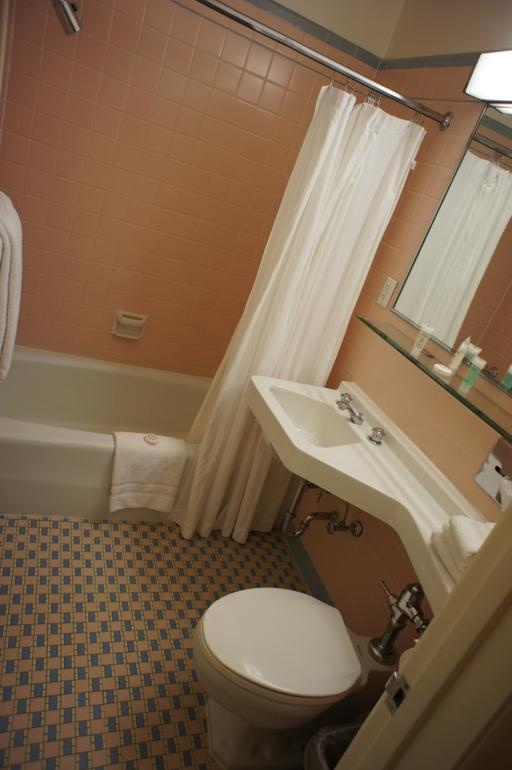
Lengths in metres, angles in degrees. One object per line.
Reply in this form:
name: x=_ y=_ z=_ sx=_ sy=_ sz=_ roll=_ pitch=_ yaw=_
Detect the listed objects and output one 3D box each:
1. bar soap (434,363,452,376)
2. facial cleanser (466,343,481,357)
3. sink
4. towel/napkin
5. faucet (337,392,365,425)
bar soap: x=0.555 y=-0.044 z=1.453 sx=0.045 sy=0.024 sz=0.049 roll=24 pitch=21 yaw=-6
facial cleanser: x=0.636 y=-0.099 z=1.421 sx=0.010 sy=0.029 sz=0.028 roll=-6 pitch=40 yaw=-20
sink: x=0.166 y=0.125 z=1.751 sx=0.321 sy=0.101 sz=0.444 roll=15 pitch=24 yaw=-27
towel/napkin: x=-0.454 y=0.363 z=2.035 sx=0.315 sy=0.353 sz=0.111 roll=0 pitch=19 yaw=-20
faucet: x=0.350 y=0.096 z=1.847 sx=0.048 sy=0.092 sz=0.161 roll=-16 pitch=56 yaw=-10
